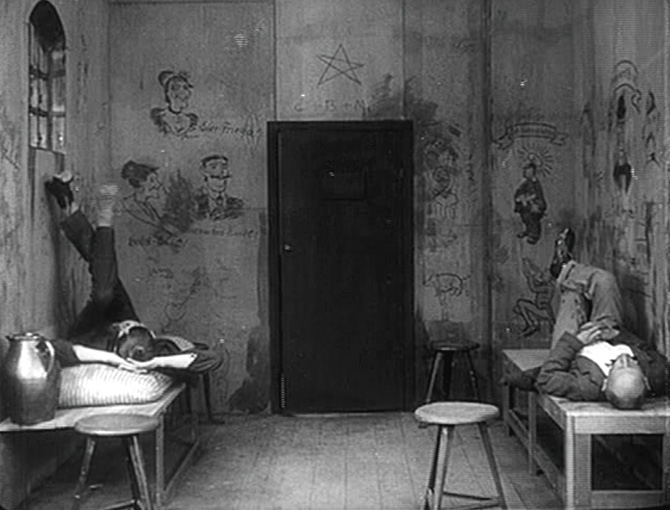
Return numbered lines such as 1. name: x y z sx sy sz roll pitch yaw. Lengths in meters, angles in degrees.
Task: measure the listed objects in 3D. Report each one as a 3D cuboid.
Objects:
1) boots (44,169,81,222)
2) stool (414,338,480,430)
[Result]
1. boots: -1.642 -0.358 4.912 0.158 0.331 0.309 -6 4 8
2. stool: 0.709 0.922 5.847 0.583 0.722 0.530 0 -7 -8
